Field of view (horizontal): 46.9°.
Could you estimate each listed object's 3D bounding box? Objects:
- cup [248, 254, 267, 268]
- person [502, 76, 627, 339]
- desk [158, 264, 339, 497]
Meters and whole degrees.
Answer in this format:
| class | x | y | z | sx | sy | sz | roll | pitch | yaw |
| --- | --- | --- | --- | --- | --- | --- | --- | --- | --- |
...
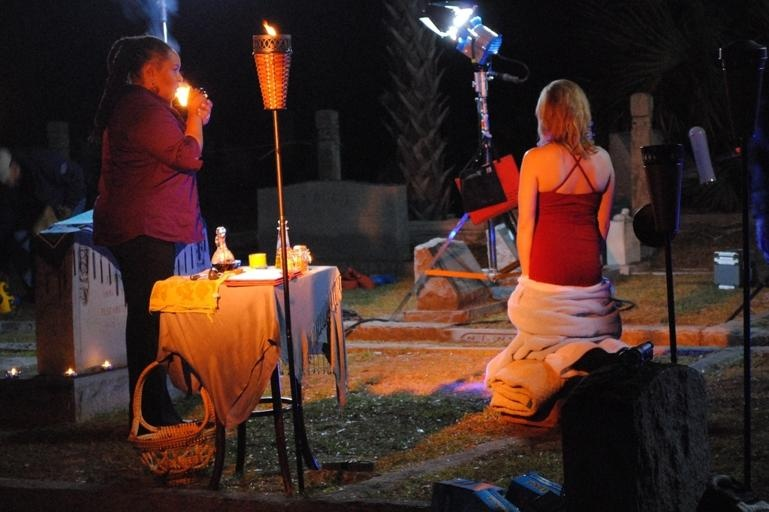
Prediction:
| class | x | y | z | sx | sy | sz | roll | pitch | yaw |
| --- | --- | --- | --- | --- | --- | --- | --- | --- | --- |
| cup | -1.150 | 0.042 | 8.056 | 0.165 | 0.122 | 0.162 | -2 | 9 | 0 |
| person | 1.648 | -0.406 | 8.322 | 0.977 | 2.386 | 0.486 | -4 | -3 | 8 |
| desk | -0.931 | 0.961 | 8.023 | 1.563 | 1.325 | 1.602 | 1 | 8 | 27 |
